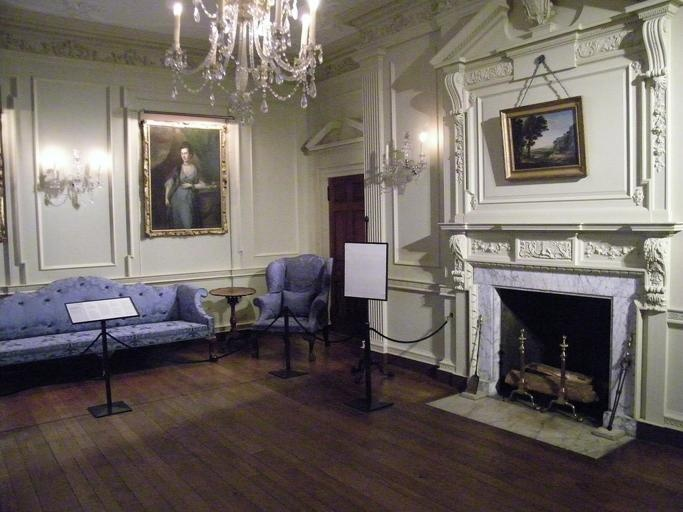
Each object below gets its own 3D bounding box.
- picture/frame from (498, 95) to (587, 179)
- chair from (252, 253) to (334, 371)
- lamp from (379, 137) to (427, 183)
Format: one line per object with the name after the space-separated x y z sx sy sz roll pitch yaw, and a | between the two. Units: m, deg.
2.070 -1.218 4.983 0.782 0.853 0.059 10 17 37 | picture/frame
-0.734 0.753 7.537 1.310 1.728 1.368 1 1 16 | chair
0.829 -1.244 6.470 0.533 0.673 0.534 3 1 -35 | lamp
